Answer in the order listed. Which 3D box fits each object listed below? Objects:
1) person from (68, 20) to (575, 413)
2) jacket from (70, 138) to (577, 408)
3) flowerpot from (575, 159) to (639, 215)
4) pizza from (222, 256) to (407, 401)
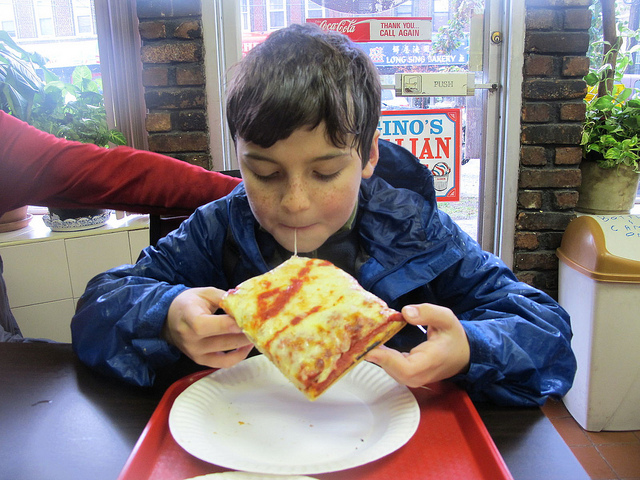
[{"bbox_3d":[0.000,-0.056,1.372,1.254,0.886,0.701,3,12,11],"label":"person"},{"bbox_3d":[-0.037,0.075,1.379,1.148,0.550,0.758,0,9,1],"label":"jacket"},{"bbox_3d":[1.337,-0.232,2.416,0.246,0.212,0.264,1,2,-5],"label":"flowerpot"},{"bbox_3d":[-0.021,0.157,1.022,0.290,0.092,0.298,-33,55,-24],"label":"pizza"}]
